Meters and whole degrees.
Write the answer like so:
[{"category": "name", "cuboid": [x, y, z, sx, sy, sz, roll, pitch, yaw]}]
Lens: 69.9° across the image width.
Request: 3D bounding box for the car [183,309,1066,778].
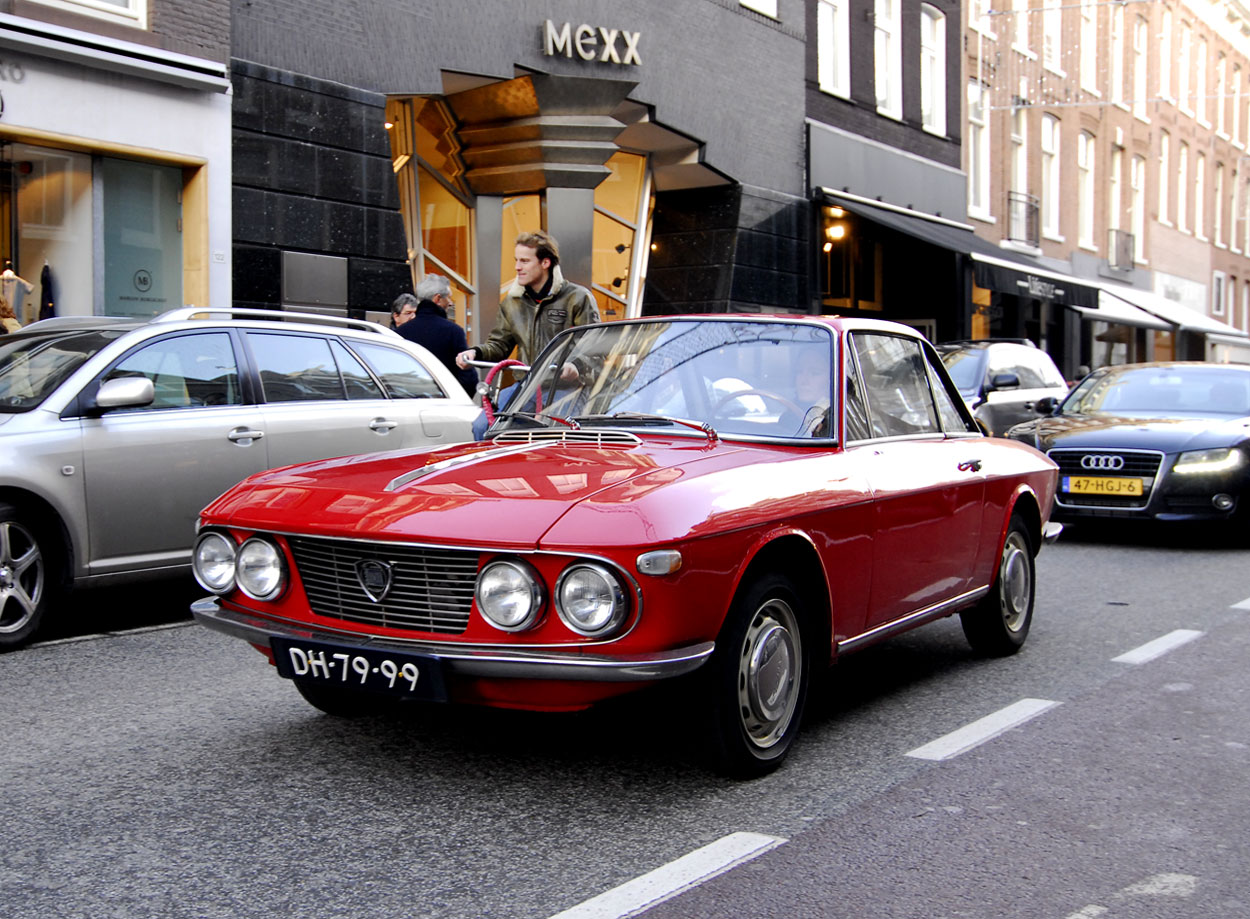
[{"category": "car", "cuboid": [0.270, 0.232, 4.147, 3.651, 1.967, 1.739, 0, 1, -44]}]
